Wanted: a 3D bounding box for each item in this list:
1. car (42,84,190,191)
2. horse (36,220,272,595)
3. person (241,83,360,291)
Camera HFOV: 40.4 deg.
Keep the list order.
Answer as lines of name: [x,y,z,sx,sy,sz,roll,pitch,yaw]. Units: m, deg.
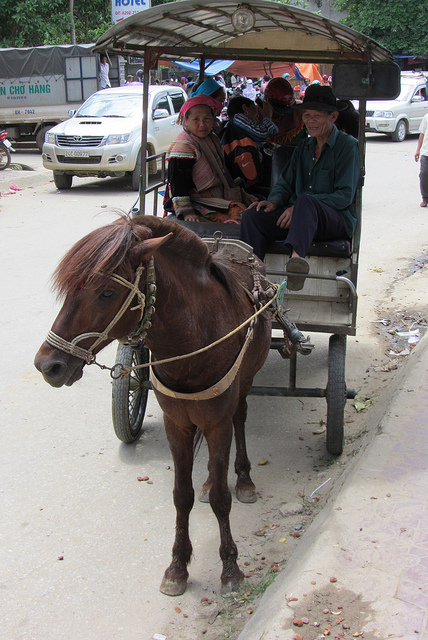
car: [-1.897,-4.315,13.328,2.393,1.962,4.238,8,25,17]
horse: [-0.107,0.398,2.385,0.491,1.640,1.292,0,14,16]
person: [0.586,-0.907,3.882,0.744,1.319,1.263,-1,14,14]
